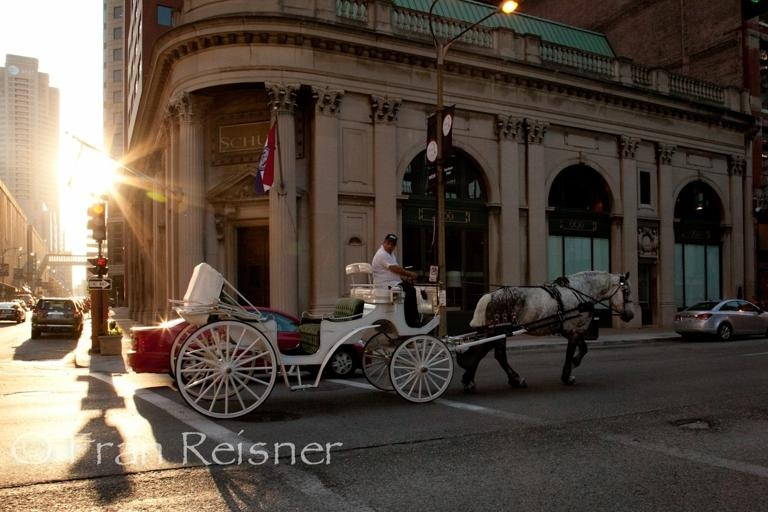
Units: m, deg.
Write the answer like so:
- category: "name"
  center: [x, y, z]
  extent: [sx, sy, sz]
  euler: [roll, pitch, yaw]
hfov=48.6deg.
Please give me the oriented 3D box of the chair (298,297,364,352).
- category: "chair"
  center: [-1.499, 2.010, 23.877]
  extent: [1.430, 1.524, 1.805]
  euler: [0, -1, -25]

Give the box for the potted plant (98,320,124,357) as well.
- category: "potted plant"
  center: [-10.599, 3.408, 33.010]
  extent: [0.971, 1.344, 1.028]
  euler: [4, -24, -29]

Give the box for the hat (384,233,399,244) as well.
- category: "hat"
  center: [0.220, -0.516, 24.544]
  extent: [0.329, 0.259, 0.490]
  euler: [21, -19, 9]

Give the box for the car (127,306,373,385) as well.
- category: "car"
  center: [-4.371, 2.775, 26.455]
  extent: [6.567, 2.286, 2.877]
  euler: [0, -5, -18]

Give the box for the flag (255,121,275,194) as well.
- category: "flag"
  center: [-4.794, -3.849, 34.559]
  extent: [0.764, 3.413, 0.251]
  euler: [-2, 39, -21]

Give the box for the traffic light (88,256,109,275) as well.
- category: "traffic light"
  center: [-11.346, 0.389, 33.638]
  extent: [0.731, 0.858, 0.415]
  euler: [0, -2, 1]
